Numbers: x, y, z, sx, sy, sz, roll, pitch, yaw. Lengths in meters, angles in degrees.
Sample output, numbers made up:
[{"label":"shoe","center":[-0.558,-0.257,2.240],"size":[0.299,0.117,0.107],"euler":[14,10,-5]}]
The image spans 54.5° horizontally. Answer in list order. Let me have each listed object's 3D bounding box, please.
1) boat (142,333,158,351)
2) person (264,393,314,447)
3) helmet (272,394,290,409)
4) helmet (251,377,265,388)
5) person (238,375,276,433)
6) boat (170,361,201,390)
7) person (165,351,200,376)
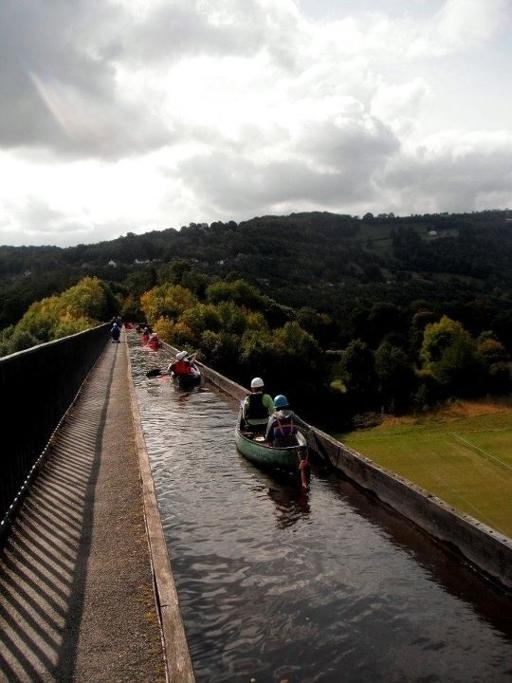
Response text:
[{"label":"boat","center":[-8.503,0.086,40.243],"size":[1.203,0.812,1.784],"euler":[7,-29,-16]},{"label":"person","center":[0.638,2.011,10.798],"size":[0.845,1.692,0.579],"euler":[-5,11,-2]},{"label":"helmet","center":[0.539,1.353,11.132],"size":[0.293,0.205,0.376],"euler":[-29,10,-15]},{"label":"helmet","center":[0.028,0.957,11.782],"size":[0.255,0.199,0.329],"euler":[-1,-3,-8]},{"label":"person","center":[0.110,1.798,12.208],"size":[0.813,1.859,0.612],"euler":[7,20,20]},{"label":"boat","center":[-2.989,1.405,21.091],"size":[1.228,1.230,1.285],"euler":[10,1,-2]},{"label":"person","center":[-3.216,0.986,21.867],"size":[1.052,0.555,1.503],"euler":[0,12,-8]}]
